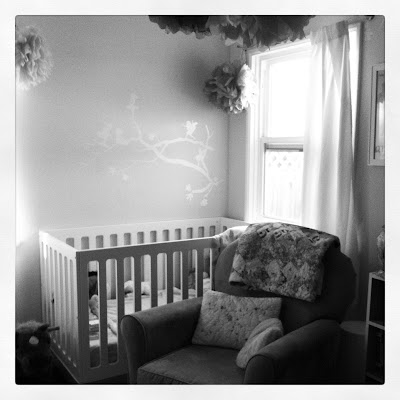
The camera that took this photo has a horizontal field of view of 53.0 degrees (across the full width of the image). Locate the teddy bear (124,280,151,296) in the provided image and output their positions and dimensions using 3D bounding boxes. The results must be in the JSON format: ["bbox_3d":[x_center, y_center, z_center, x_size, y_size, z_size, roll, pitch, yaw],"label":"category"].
[{"bbox_3d":[-0.263,0.372,1.687,0.146,0.091,0.046,5,-9,-33],"label":"teddy bear"}]

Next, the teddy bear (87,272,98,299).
[{"bbox_3d":[-0.435,0.340,1.619,0.024,0.085,0.055,1,-6,24],"label":"teddy bear"}]
